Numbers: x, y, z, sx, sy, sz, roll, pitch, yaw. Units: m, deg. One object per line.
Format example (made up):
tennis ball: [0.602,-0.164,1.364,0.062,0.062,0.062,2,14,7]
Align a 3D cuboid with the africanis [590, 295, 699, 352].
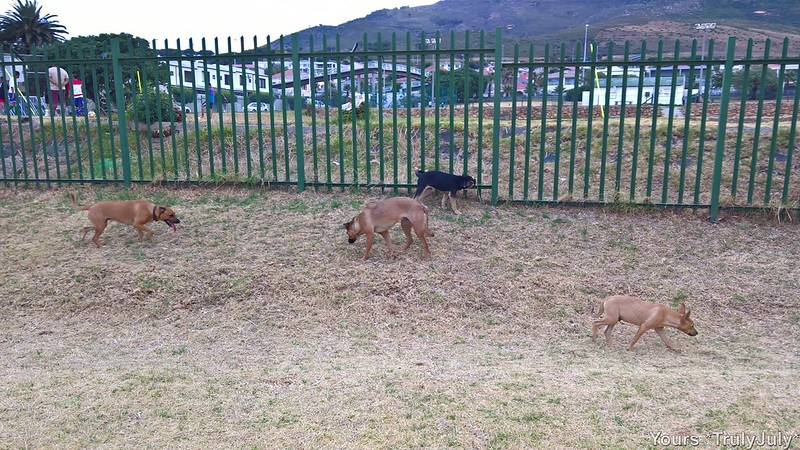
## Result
africanis: [3.932,1.560,10.981,1.571,0.872,0.517,0,14,3]

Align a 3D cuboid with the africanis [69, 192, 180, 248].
africanis: [-5.096,-0.076,12.909,1.811,0.870,0.748,-3,14,-9]

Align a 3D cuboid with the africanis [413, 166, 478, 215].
africanis: [0.913,-0.763,14.029,1.457,0.840,0.447,9,11,26]
